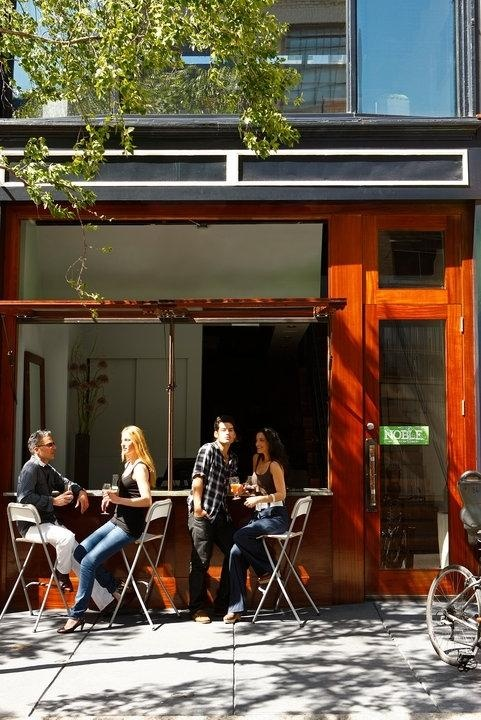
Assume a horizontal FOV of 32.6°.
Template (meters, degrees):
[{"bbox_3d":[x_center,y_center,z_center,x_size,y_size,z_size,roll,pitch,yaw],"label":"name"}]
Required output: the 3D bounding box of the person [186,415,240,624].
[{"bbox_3d":[-0.226,1.274,6.589,0.392,1.041,0.631,0,0,1],"label":"person"}]

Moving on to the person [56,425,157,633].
[{"bbox_3d":[-1.035,1.298,6.398,0.715,1.502,0.656,0,0,-8],"label":"person"}]

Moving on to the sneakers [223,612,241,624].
[{"bbox_3d":[-0.068,1.990,6.284,0.055,0.079,0.154,-6,-22,38],"label":"sneakers"}]

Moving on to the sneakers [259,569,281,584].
[{"bbox_3d":[0.218,1.791,6.688,0.112,0.143,0.347,-3,-17,5],"label":"sneakers"}]

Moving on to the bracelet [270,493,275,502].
[{"bbox_3d":[0.250,1.106,6.478,0.037,0.046,0.044,-8,-1,1],"label":"bracelet"}]

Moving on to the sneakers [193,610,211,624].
[{"bbox_3d":[-0.302,2.010,6.405,0.138,0.059,0.225,-1,0,-4],"label":"sneakers"}]

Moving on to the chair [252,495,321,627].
[{"bbox_3d":[0.343,1.598,6.586,0.472,0.947,0.470,0,-7,12],"label":"chair"}]

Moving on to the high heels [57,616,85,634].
[{"bbox_3d":[-1.245,1.985,6.125,0.226,0.116,0.082,9,-13,-34],"label":"high heels"}]
